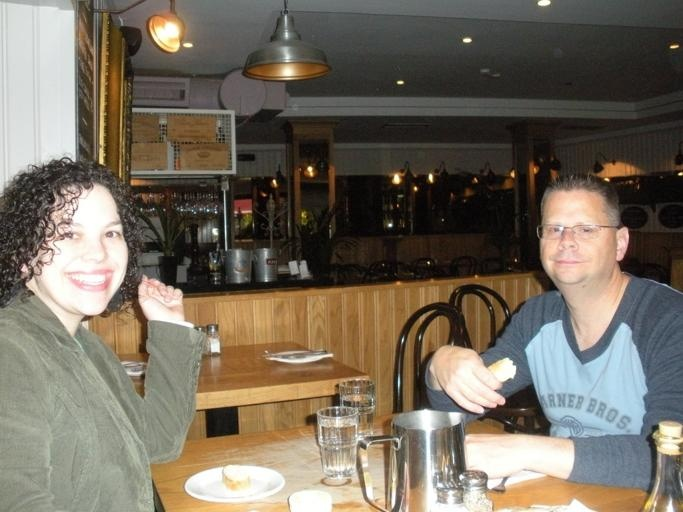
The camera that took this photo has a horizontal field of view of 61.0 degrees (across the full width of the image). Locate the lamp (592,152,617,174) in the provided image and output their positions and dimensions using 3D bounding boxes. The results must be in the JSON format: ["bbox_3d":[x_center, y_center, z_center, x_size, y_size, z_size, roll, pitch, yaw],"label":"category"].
[{"bbox_3d":[4.362,-1.567,9.737,0.407,0.381,0.269,-3,3,-15],"label":"lamp"}]

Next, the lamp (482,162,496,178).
[{"bbox_3d":[2.643,-1.555,10.480,0.254,0.260,0.266,-2,-5,9],"label":"lamp"}]

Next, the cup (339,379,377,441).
[{"bbox_3d":[0.053,0.466,1.754,0.142,0.208,0.137,-1,-12,0],"label":"cup"}]

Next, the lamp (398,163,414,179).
[{"bbox_3d":[1.119,-1.501,9.974,0.243,0.310,0.464,-2,3,6],"label":"lamp"}]

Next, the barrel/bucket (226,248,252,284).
[{"bbox_3d":[-0.745,0.069,4.204,0.200,0.240,0.251,-3,3,-12],"label":"barrel/bucket"}]

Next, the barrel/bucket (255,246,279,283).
[{"bbox_3d":[-0.558,0.058,4.276,0.172,0.234,0.161,-2,3,0],"label":"barrel/bucket"}]

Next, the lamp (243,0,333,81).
[{"bbox_3d":[-0.323,-1.302,3.346,0.443,0.520,0.430,1,5,45],"label":"lamp"}]
